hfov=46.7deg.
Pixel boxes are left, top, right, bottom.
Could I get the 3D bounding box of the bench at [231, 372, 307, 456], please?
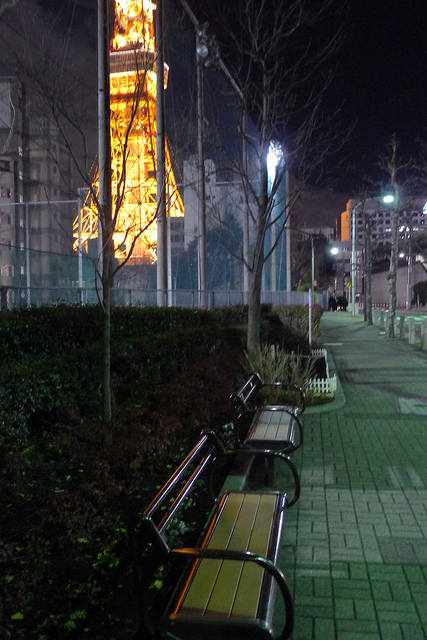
[{"bbox_3d":[0.568,0.859,4.786,0.544,0.634,1.358,-3,2,12],"label":"bench"}]
